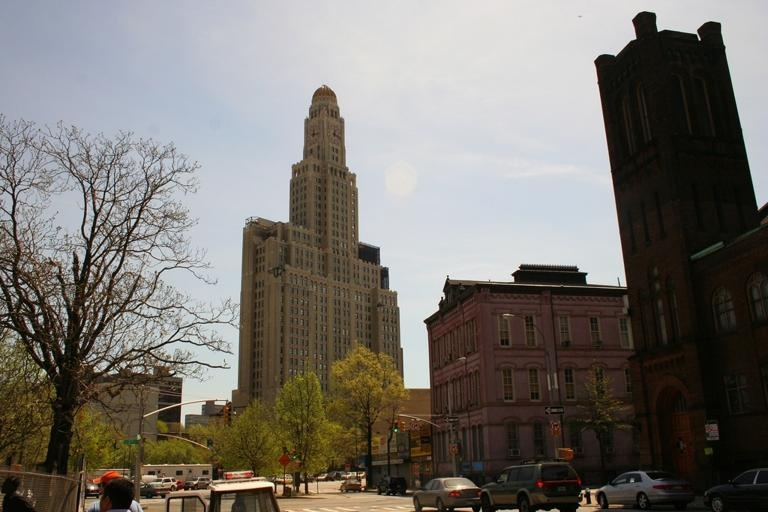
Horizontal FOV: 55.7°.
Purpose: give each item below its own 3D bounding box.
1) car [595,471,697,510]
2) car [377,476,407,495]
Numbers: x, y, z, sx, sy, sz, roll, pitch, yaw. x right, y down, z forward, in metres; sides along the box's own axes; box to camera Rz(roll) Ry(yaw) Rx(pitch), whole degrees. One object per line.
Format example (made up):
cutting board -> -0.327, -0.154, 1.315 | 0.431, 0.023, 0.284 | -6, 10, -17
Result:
car -> 14.248, 13.024, 40.684 | 2.276, 1.686, 5.227 | 10, -21, -23
car -> 0.842, 22.118, 69.792 | 1.710, 1.403, 2.948 | 8, -14, -21
